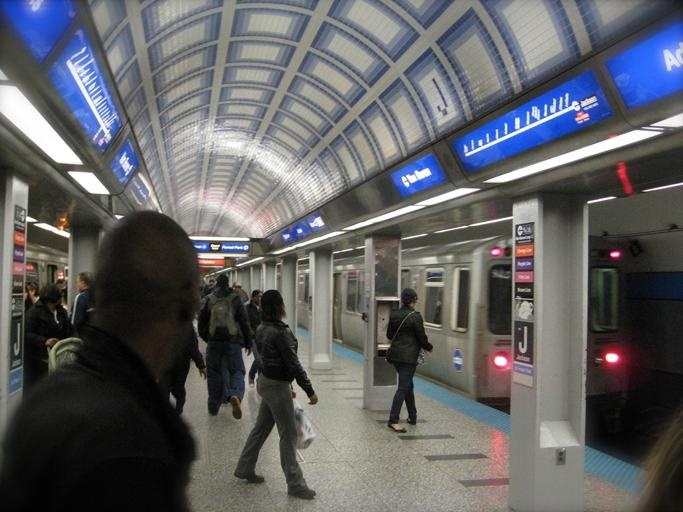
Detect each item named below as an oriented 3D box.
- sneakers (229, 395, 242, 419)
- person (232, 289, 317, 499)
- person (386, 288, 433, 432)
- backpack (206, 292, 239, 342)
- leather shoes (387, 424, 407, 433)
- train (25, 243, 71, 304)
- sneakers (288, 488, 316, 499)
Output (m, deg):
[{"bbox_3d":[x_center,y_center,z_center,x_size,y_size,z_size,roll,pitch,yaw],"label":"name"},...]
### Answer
[{"bbox_3d":[-1.747,2.538,6.930,0.193,0.466,0.203,-5,-3,0],"label":"sneakers"},{"bbox_3d":[-0.702,1.514,4.685,0.733,2.256,0.748,5,-6,-23],"label":"person"},{"bbox_3d":[1.138,1.747,7.138,0.692,2.366,0.557,2,-5,8],"label":"person"},{"bbox_3d":[-2.152,1.052,7.498,0.634,0.859,0.496,0,-14,-14],"label":"backpack"},{"bbox_3d":[0.930,2.862,6.905,0.106,0.113,0.305,4,-7,-29],"label":"leather shoes"},{"bbox_3d":[-12.114,0.876,16.613,1.062,2.238,4.722,-14,9,-37],"label":"train"},{"bbox_3d":[-0.425,2.582,4.559,0.315,0.128,0.119,0,4,-3],"label":"sneakers"}]
